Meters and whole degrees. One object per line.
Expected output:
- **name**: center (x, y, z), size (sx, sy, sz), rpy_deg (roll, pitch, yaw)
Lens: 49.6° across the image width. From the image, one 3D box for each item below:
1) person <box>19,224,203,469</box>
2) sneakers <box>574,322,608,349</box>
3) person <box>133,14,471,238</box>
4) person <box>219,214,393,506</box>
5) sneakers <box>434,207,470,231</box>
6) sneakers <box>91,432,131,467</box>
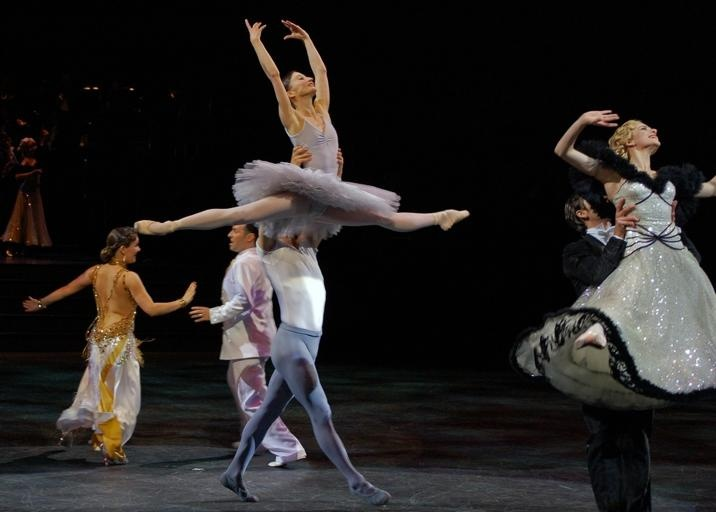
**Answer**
- **person**: center (-1.916, 0.730, 6.066), size (0.888, 1.876, 0.857), rpy_deg (-4, 10, -20)
- **sneakers**: center (1.223, 0.431, 4.051), size (0.155, 0.129, 0.158), rpy_deg (2, 8, 16)
- **person**: center (-0.329, -0.701, 4.640), size (2.175, 1.309, 0.785), rpy_deg (-8, 11, -25)
- **person**: center (-0.330, 0.755, 4.830), size (1.052, 1.736, 0.528), rpy_deg (1, 10, 8)
- **sneakers**: center (0.557, -0.216, 4.578), size (0.170, 0.106, 0.217), rpy_deg (1, 7, 6)
- **sneakers**: center (-1.839, 1.449, 5.879), size (0.256, 0.275, 0.179), rpy_deg (-5, 6, 42)
